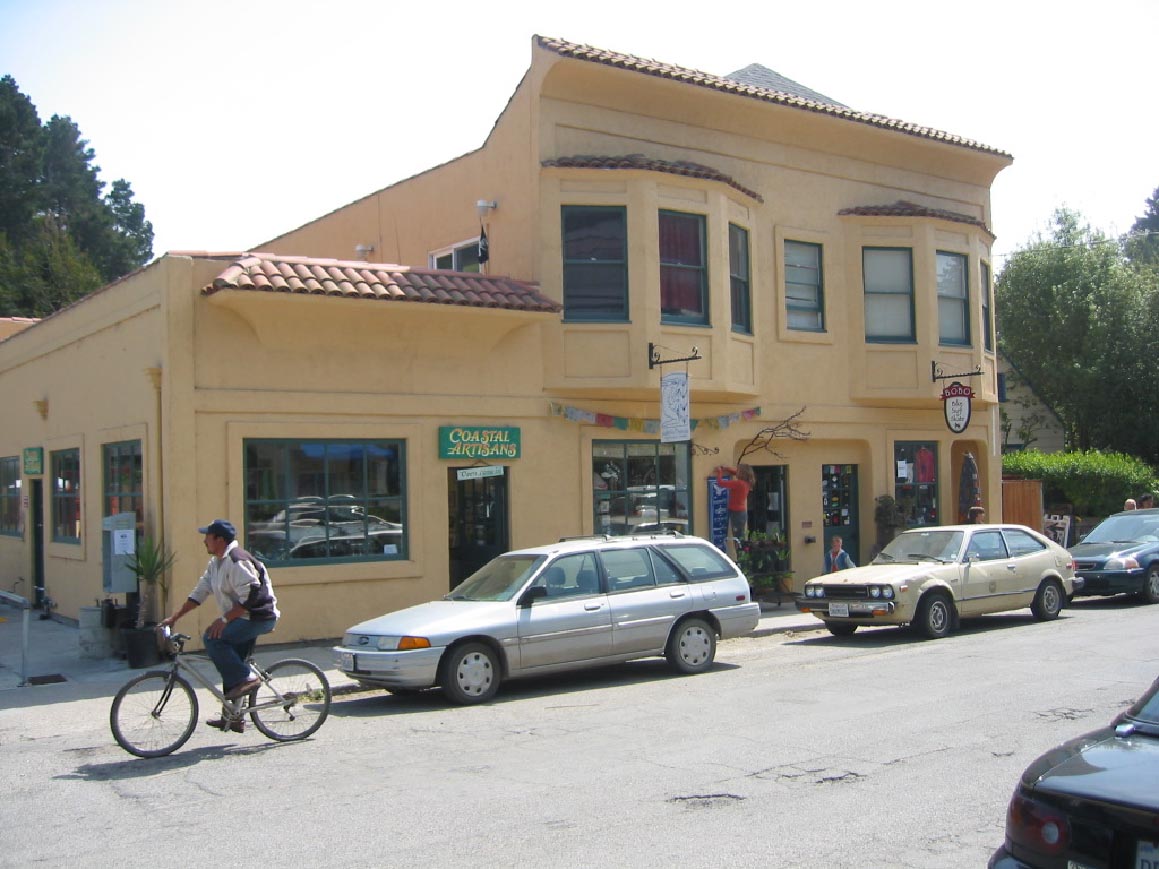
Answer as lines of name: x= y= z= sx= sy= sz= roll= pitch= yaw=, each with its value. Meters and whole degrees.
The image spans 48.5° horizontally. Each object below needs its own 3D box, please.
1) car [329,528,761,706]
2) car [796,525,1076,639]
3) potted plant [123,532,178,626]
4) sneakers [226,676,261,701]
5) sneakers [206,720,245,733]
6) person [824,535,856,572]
car: x=-0.465 y=2.428 z=17.511 sx=5.564 sy=2.164 sz=2.183 roll=2 pitch=-7 yaw=-29
car: x=5.844 y=2.348 z=20.684 sx=4.400 sy=1.643 sz=1.486 roll=-4 pitch=5 yaw=-29
potted plant: x=-6.307 y=2.234 z=18.822 sx=0.609 sy=1.613 sz=0.596 roll=4 pitch=-7 yaw=3
sneakers: x=-3.689 y=2.805 z=14.218 sx=0.400 sy=0.180 sz=0.148 roll=-28 pitch=2 yaw=-28
sneakers: x=-3.889 y=3.234 z=14.260 sx=0.247 sy=0.114 sz=0.348 roll=2 pitch=-1 yaw=-16
person: x=4.864 y=2.277 z=24.431 sx=0.592 sy=1.031 sz=0.277 roll=-3 pitch=17 yaw=27
